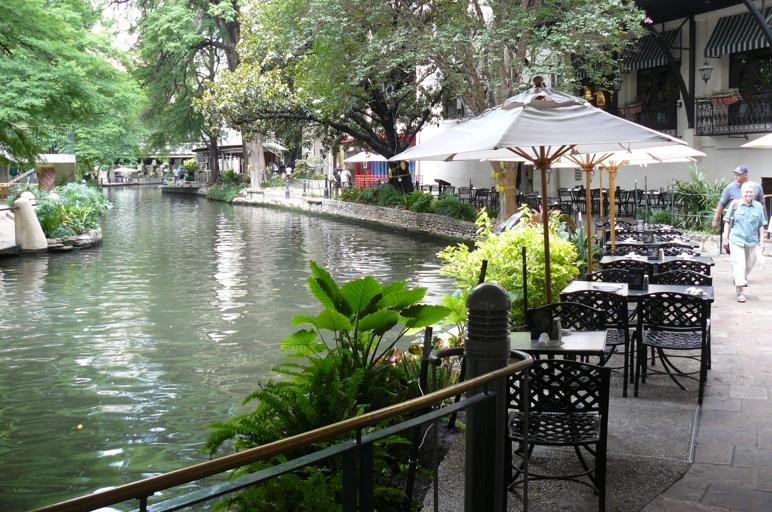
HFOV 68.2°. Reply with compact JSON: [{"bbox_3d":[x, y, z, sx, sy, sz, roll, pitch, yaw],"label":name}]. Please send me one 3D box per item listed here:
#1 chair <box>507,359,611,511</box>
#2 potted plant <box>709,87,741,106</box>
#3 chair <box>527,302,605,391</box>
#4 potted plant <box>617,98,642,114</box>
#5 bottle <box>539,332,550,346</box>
[{"bbox_3d":[1.368,1.324,4.603,0.739,1.168,1.023,1,10,12],"label":"chair"},{"bbox_3d":[13.097,-6.050,21.781,0.792,0.618,1.159,-3,10,-11],"label":"potted plant"},{"bbox_3d":[1.918,0.947,5.922,1.023,0.926,0.735,-1,2,16],"label":"chair"},{"bbox_3d":[11.748,-7.066,27.266,0.816,0.466,0.739,-10,8,-28],"label":"potted plant"},{"bbox_3d":[1.488,0.781,5.337,0.077,0.116,0.048,2,-14,17],"label":"bottle"}]
